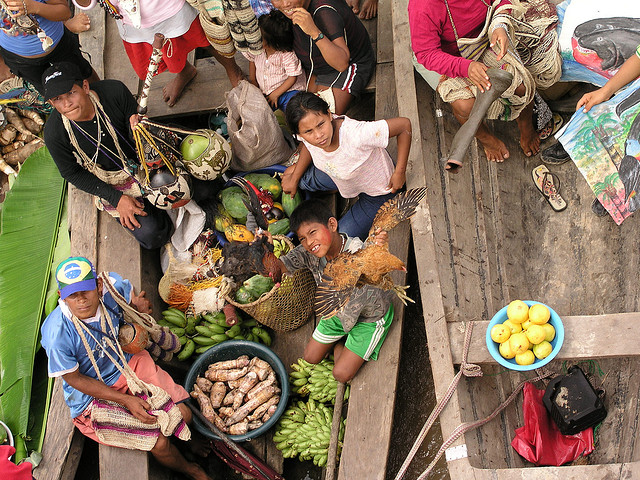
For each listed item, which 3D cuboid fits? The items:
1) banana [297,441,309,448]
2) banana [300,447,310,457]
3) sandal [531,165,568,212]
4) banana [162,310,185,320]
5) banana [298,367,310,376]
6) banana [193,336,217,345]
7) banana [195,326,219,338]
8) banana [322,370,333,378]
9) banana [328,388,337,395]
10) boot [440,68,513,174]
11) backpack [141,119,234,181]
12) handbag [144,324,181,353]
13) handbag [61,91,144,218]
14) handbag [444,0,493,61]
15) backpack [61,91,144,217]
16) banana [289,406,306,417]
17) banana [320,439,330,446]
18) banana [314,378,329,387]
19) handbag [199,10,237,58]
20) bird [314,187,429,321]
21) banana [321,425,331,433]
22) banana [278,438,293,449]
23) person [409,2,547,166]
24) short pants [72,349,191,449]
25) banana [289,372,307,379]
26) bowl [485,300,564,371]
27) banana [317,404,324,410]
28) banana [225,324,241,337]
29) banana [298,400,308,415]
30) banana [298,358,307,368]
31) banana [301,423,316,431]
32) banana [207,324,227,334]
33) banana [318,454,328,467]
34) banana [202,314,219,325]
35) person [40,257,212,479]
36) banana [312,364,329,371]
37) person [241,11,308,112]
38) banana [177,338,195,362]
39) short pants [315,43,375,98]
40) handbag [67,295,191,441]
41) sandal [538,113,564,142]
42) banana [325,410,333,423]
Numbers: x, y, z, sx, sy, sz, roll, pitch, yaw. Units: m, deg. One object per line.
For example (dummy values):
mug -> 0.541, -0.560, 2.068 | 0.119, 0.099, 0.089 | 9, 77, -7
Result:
banana -> -0.160, 1.764, 5.254 | 0.062, 0.026, 0.052 | -30, 39, 10
banana -> -0.136, 1.834, 5.260 | 0.097, 0.032, 0.056 | -50, 36, 11
sandal -> 1.926, -0.438, 5.215 | 0.184, 0.094, 0.414 | -28, 72, 10
banana -> -1.353, 0.696, 5.679 | 0.207, 0.063, 0.061 | 27, 106, 5
banana -> -0.161, 1.178, 5.445 | 0.049, 0.019, 0.086 | -27, 87, 24
banana -> -1.058, 0.932, 5.617 | 0.257, 0.075, 0.097 | 8, 69, -16
banana -> -1.044, 0.843, 5.660 | 0.237, 0.078, 0.076 | 19, 40, -14
banana -> 0.048, 1.173, 5.368 | 0.076, 0.022, 0.068 | 12, 57, 13
banana -> 0.093, 1.316, 5.309 | 0.067, 0.050, 0.043 | -2, 53, 4
boot -> 1.191, -0.928, 4.857 | 0.984, 0.384, 0.309 | -59, 26, -11
backpack -> -1.207, -0.878, 5.484 | 0.866, 0.374, 0.388 | 31, 68, -10
handbag -> -1.369, 0.866, 5.304 | 0.128, 0.326, 0.154 | -24, 55, 13
handbag -> -1.862, -0.677, 5.303 | 0.374, 0.918, 0.578 | -26, 54, -14
handbag -> 1.188, -1.688, 4.938 | 0.196, 0.299, 0.349 | -24, 77, -3
backpack -> -1.861, -0.902, 5.264 | 0.165, 0.576, 0.584 | -37, 96, -12
banana -> -0.204, 1.500, 5.396 | 0.167, 0.062, 0.050 | 30, 85, 25
banana -> 0.028, 1.725, 5.203 | 0.074, 0.028, 0.049 | -2, 54, 4
banana -> 0.011, 1.247, 5.332 | 0.152, 0.055, 0.047 | -21, 12, -13
handbag -> -0.934, -1.854, 5.623 | 0.277, 0.543, 0.169 | -10, 51, -2
bird -> 0.368, 0.171, 4.344 | 0.995, 0.680, 0.462 | -39, 59, -21
banana -> 0.039, 1.623, 5.255 | 0.079, 0.014, 0.058 | 2, 55, 6
banana -> -0.311, 1.784, 5.328 | 0.097, 0.050, 0.036 | -50, 25, 21
person -> 1.277, -1.287, 5.010 | 0.502, 1.102, 0.858 | -36, 61, 22
short pants -> -1.505, 1.186, 4.740 | 0.747, 0.266, 0.764 | -38, 79, -26
banana -> -0.207, 1.209, 5.453 | 0.138, 0.045, 0.053 | 1, 74, 14
bowl -> 1.418, 0.683, 4.320 | 0.498, 0.259, 0.423 | 15, 57, 15
banana -> -0.002, 1.467, 5.373 | 0.049, 0.021, 0.045 | -4, 54, 2
banana -> -0.795, 0.845, 5.624 | 0.064, 0.077, 0.149 | -28, 16, 37
banana -> -0.160, 1.474, 5.403 | 0.054, 0.046, 0.165 | -24, 49, -12
banana -> -0.164, 1.100, 5.469 | 0.050, 0.030, 0.096 | -43, 29, -5
banana -> -0.112, 1.618, 5.268 | 0.116, 0.040, 0.032 | 20, 29, 15
banana -> -0.939, 0.829, 5.642 | 0.191, 0.067, 0.067 | 14, 80, -7
banana -> 0.024, 1.887, 5.219 | 0.040, 0.050, 0.147 | 29, 99, 33
banana -> -1.004, 0.732, 5.631 | 0.131, 0.062, 0.050 | 22, 58, 19
person -> -1.626, 1.136, 5.076 | 0.906, 1.768, 0.848 | 2, 49, 12
banana -> -0.011, 1.131, 5.392 | 0.134, 0.031, 0.053 | 0, 54, 5
person -> -0.408, -1.620, 5.547 | 0.547, 0.924, 0.693 | 16, 86, 7
banana -> -1.230, 0.998, 5.592 | 0.056, 0.122, 0.200 | 28, 75, -12
short pants -> 0.256, -1.469, 5.608 | 0.600, 0.265, 0.358 | -20, 55, -9
handbag -> -1.412, 1.194, 4.959 | 0.223, 0.434, 1.599 | -35, 104, -23
sandal -> 2.001, -0.972, 5.358 | 0.134, 0.133, 0.286 | 35, 65, 27
banana -> 0.064, 1.540, 5.314 | 0.060, 0.042, 0.103 | -8, 55, 0
